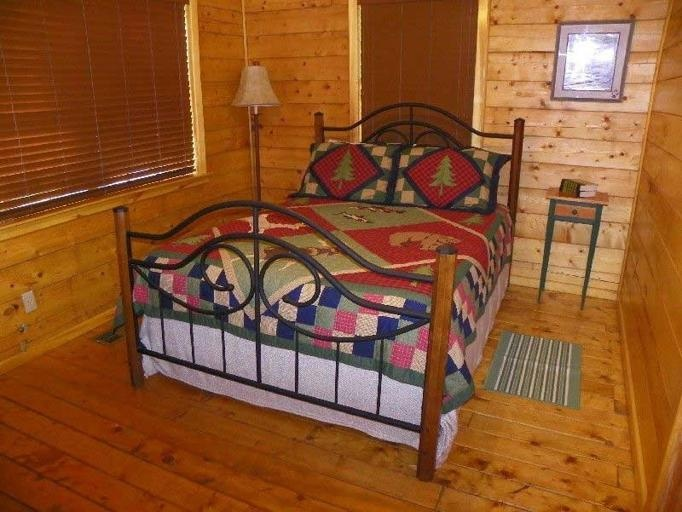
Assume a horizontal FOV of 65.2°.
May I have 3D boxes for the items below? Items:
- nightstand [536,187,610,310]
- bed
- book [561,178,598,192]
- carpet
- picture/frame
[{"bbox_3d":[1.748,-0.072,4.094,0.481,0.865,0.403,14,27,21],"label":"nightstand"},{"bbox_3d":[0.114,-0.102,3.410,1.913,1.115,2.195,7,30,16],"label":"bed"},{"bbox_3d":[1.745,-0.514,3.910,0.164,0.047,0.146,-3,13,-12],"label":"book"},{"bbox_3d":[1.202,0.698,3.278,0.430,0.016,0.433,9,29,20],"label":"carpet"},{"bbox_3d":[1.846,-1.423,3.845,0.697,0.591,0.051,10,28,22],"label":"picture/frame"}]
